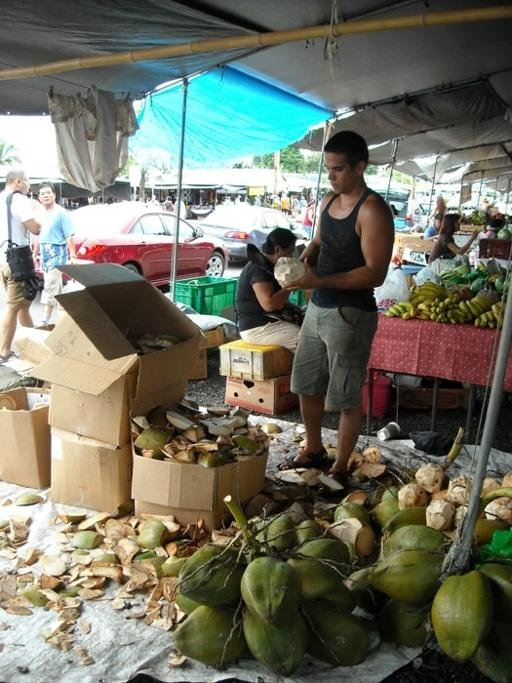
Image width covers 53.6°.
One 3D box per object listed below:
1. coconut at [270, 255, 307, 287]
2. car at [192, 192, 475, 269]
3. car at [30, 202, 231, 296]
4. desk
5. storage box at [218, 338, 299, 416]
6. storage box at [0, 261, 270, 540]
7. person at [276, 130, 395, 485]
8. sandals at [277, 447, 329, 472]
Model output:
[{"bbox_3d":[0.182,-0.373,2.766,0.182,0.094,0.173,6,40,3],"label":"coconut"},{"bbox_3d":[1.557,-3.246,15.206,6.708,2.031,2.741,-12,18,-37],"label":"car"},{"bbox_3d":[-1.930,-1.718,9.312,1.661,1.057,3.590,8,13,32],"label":"car"},{"bbox_3d":[1.360,0.125,3.573,1.083,0.703,0.789,4,4,42],"label":"desk"},{"bbox_3d":[0.013,0.240,4.636,0.632,0.700,0.838,3,4,31],"label":"storage box"},{"bbox_3d":[-0.419,0.233,2.952,1.354,1.413,1.604,10,4,31],"label":"storage box"},{"bbox_3d":[0.451,-0.167,2.847,0.568,1.885,0.596,-1,10,3],"label":"person"},{"bbox_3d":[0.308,0.728,3.077,0.332,0.113,0.110,2,-7,-20],"label":"sandals"}]
